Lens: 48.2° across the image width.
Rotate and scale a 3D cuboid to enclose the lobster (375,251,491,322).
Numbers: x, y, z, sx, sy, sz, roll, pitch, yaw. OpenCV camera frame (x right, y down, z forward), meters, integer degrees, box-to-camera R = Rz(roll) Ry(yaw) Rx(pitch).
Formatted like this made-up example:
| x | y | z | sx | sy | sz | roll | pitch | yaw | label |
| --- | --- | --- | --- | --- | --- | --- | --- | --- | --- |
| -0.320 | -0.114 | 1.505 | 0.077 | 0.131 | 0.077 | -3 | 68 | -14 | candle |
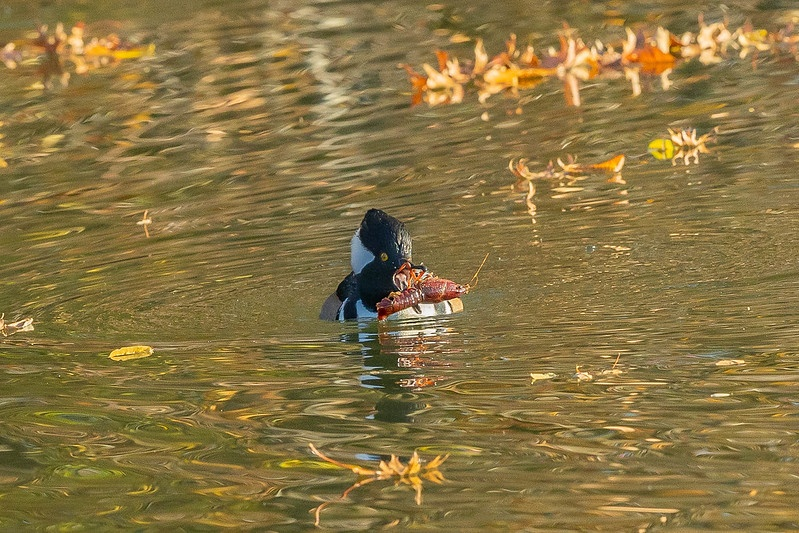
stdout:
| x | y | z | sx | sy | sz | roll | pitch | yaw | label |
| --- | --- | --- | --- | --- | --- | --- | --- | --- | --- |
| 0.231 | 0.247 | 8.228 | 0.671 | 0.591 | 0.615 | 16 | 35 | 0 | lobster |
